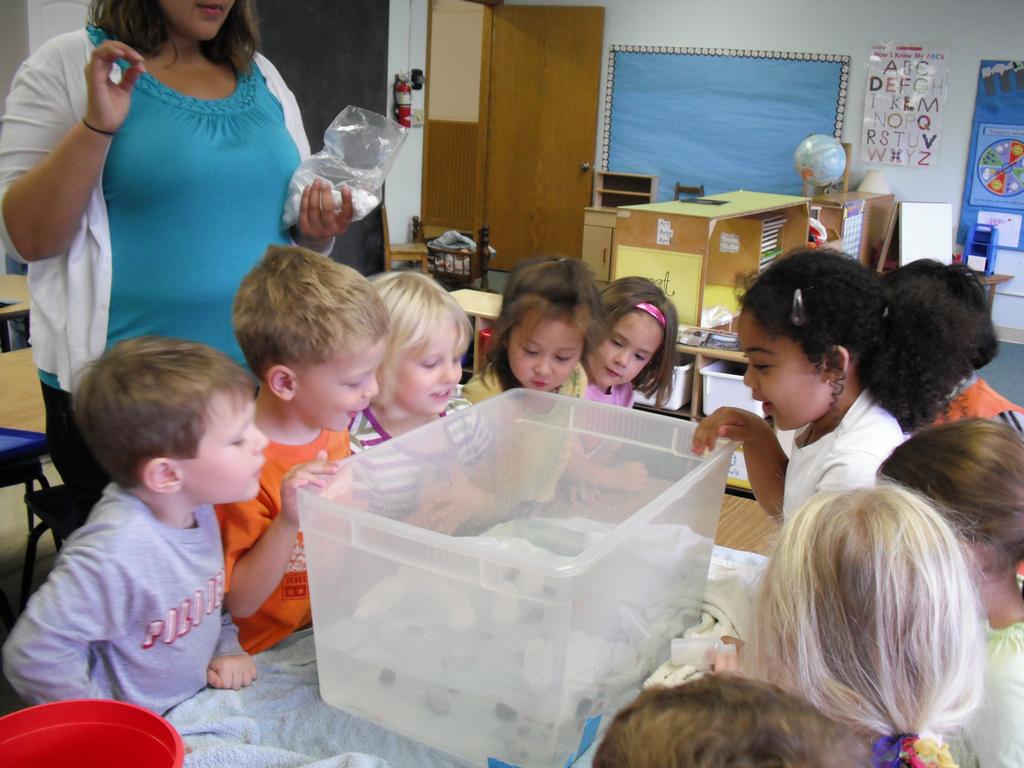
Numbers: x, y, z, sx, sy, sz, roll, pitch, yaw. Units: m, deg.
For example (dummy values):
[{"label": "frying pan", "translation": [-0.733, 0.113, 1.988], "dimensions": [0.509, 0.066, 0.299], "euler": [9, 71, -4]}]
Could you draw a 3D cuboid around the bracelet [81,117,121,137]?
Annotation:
[{"label": "bracelet", "translation": [-0.665, -0.410, 1.383], "dimensions": [0.050, 0.027, 0.026], "euler": [1, 9, -26]}]

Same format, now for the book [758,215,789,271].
[{"label": "book", "translation": [1.109, -0.611, 3.712], "dimensions": [0.068, 0.241, 0.173], "euler": [8, 8, 28]}]

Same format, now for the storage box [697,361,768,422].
[{"label": "storage box", "translation": [0.865, 0.030, 3.488], "dimensions": [0.323, 0.228, 0.270], "euler": [11, 17, 10]}]

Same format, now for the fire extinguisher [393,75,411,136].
[{"label": "fire extinguisher", "translation": [-0.738, -1.891, 5.783], "dimensions": [0.130, 0.344, 0.259], "euler": [4, 8, -3]}]

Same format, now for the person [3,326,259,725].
[{"label": "person", "translation": [-0.540, 0.111, 1.556], "dimensions": [0.460, 0.814, 0.500], "euler": [-2, 19, -17]}]

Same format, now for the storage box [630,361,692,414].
[{"label": "storage box", "translation": [0.607, 0.023, 3.514], "dimensions": [0.192, 0.198, 0.282], "euler": [4, 8, 23]}]
